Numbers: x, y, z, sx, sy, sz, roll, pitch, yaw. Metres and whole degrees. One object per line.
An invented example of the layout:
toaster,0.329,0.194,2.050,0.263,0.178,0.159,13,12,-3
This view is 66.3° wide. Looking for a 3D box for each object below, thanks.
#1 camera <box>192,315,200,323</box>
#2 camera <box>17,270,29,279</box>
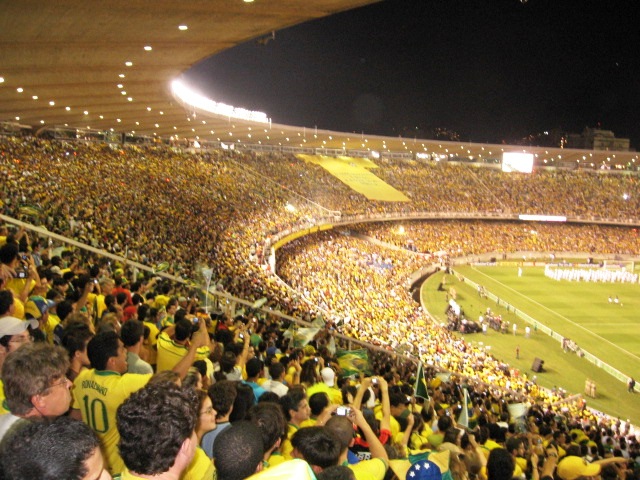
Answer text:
camera,-2.117,1.326,8.350,0.127,0.154,0.072,14,-34,-39
camera,-4.575,0.532,7.592,0.139,0.047,0.190,-6,2,-18
